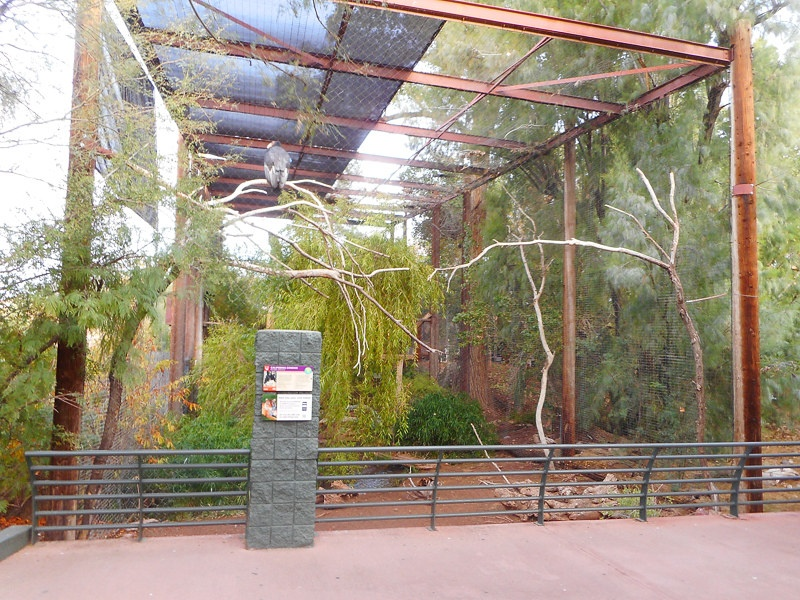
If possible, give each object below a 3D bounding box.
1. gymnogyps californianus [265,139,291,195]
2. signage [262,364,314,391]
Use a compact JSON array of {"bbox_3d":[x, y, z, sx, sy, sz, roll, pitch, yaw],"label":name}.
[{"bbox_3d":[-1.322,-1.410,7.957,0.265,0.643,0.249,0,-18,1],"label":"gymnogyps californianus"},{"bbox_3d":[-1.087,0.771,7.233,0.470,0.240,0.087,0,7,-13],"label":"signage"}]
